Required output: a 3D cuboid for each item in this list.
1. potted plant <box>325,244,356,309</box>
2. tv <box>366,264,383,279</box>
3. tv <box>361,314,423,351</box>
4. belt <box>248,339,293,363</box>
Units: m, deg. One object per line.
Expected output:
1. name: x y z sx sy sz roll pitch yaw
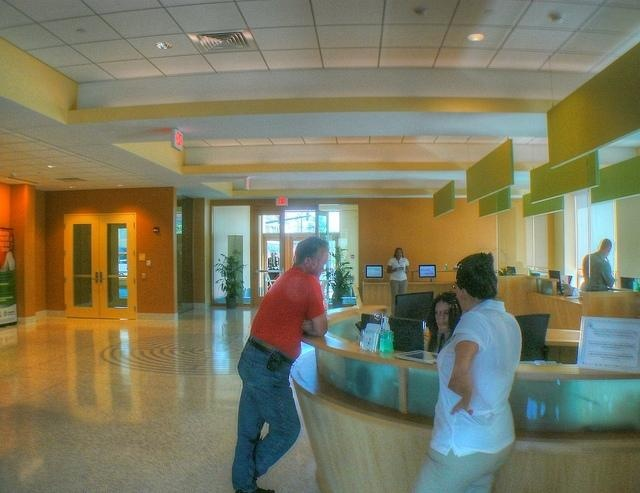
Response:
1. potted plant: 0.555 0.789 13.691 0.969 1.845 0.754 2 3 0
2. tv: 1.471 0.698 12.980 0.650 0.431 0.326 0 -8 4
3. tv: 0.554 0.714 3.791 0.532 0.284 0.037 5 -20 -6
4. belt: -0.397 0.826 3.765 0.338 0.185 0.074 1 3 -1
